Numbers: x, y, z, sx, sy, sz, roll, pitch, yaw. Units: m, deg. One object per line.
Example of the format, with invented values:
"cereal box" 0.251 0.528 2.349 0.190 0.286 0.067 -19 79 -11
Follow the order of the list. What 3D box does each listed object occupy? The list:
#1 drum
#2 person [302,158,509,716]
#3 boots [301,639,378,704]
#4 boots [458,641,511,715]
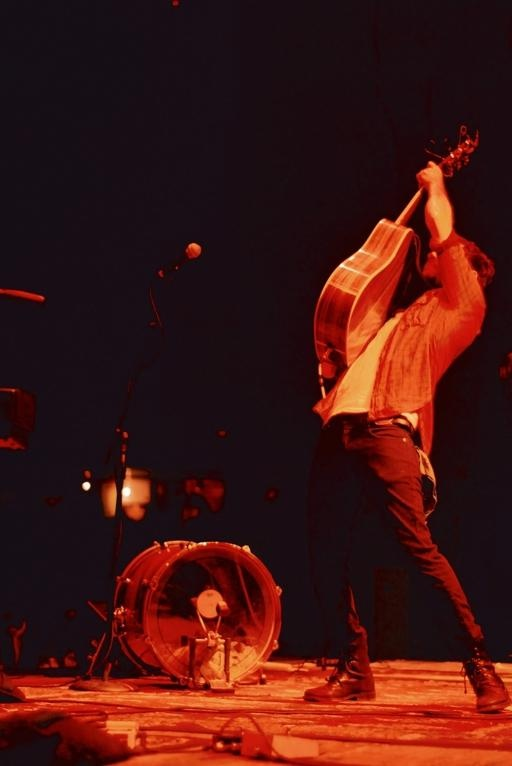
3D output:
"drum" -0.211 0.843 3.306 0.614 0.546 0.332 1 -25 -10
"person" 0.565 0.166 3.474 0.896 2.135 0.435 -6 -24 6
"boots" 0.292 1.009 3.101 0.297 0.238 0.135 2 -21 1
"boots" 0.766 0.988 2.964 0.138 0.206 0.095 -6 -24 6
